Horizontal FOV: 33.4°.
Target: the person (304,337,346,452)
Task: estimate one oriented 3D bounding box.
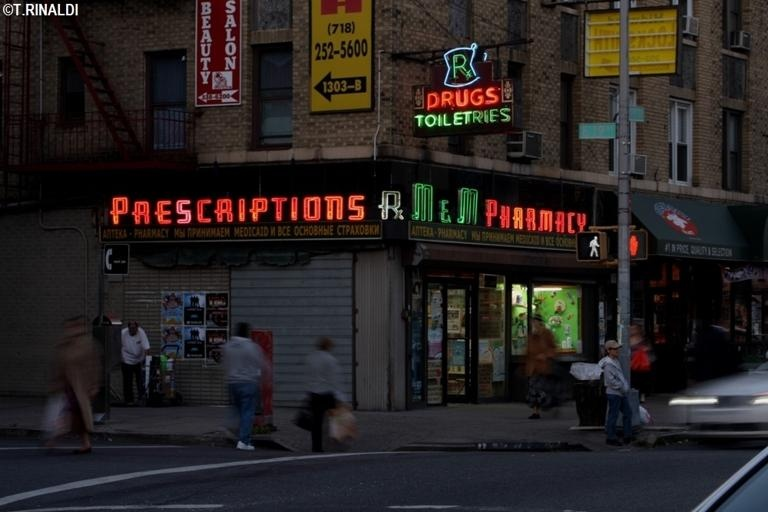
[{"bbox_3d":[-1.225,2.870,26.771,0.728,2.392,0.474,-4,9,-24],"label":"person"}]

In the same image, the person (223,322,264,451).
[{"bbox_3d":[-2.876,2.719,26.733,0.866,2.625,0.676,-1,8,-6],"label":"person"}]

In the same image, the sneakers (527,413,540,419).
[{"bbox_3d":[3.705,3.887,31.352,0.112,0.116,0.308,-3,-8,27],"label":"sneakers"}]

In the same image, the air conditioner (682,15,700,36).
[{"bbox_3d":[9.235,-6.996,38.515,0.207,0.552,0.805,5,9,34],"label":"air conditioner"}]

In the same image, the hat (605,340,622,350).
[{"bbox_3d":[4.996,1.898,27.899,0.277,0.104,0.186,-4,4,10],"label":"hat"}]

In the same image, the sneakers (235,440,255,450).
[{"bbox_3d":[-2.848,3.911,26.689,0.421,0.171,0.160,8,-3,-37],"label":"sneakers"}]

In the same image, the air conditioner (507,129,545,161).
[{"bbox_3d":[3.887,-2.975,34.651,0.723,0.908,1.155,-4,-4,35],"label":"air conditioner"}]

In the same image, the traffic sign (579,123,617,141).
[{"bbox_3d":[4.970,-2.887,29.464,1.080,0.554,0.509,0,1,11],"label":"traffic sign"}]

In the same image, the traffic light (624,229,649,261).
[{"bbox_3d":[5.761,-0.279,29.119,0.484,0.683,0.383,-2,8,-9],"label":"traffic light"}]

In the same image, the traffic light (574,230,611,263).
[{"bbox_3d":[4.795,-0.216,29.253,1.051,0.979,0.610,1,-1,27],"label":"traffic light"}]

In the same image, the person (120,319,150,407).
[{"bbox_3d":[-6.406,2.715,33.032,0.668,2.152,0.568,-1,8,-3],"label":"person"}]

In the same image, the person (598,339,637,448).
[{"bbox_3d":[5.037,2.942,27.773,0.646,2.142,0.758,4,9,30],"label":"person"}]

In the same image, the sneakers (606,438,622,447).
[{"bbox_3d":[4.966,3.983,27.582,0.351,0.144,0.116,0,-2,8],"label":"sneakers"}]

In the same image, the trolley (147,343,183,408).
[{"bbox_3d":[-5.799,3.053,33.419,1.090,1.475,1.088,1,-3,-22],"label":"trolley"}]

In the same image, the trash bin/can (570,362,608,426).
[{"bbox_3d":[4.899,3.169,29.814,1.126,1.316,1.120,2,-7,-28],"label":"trash bin/can"}]

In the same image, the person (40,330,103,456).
[{"bbox_3d":[-6.376,2.632,26.121,0.988,2.682,1.277,-2,8,-15],"label":"person"}]
